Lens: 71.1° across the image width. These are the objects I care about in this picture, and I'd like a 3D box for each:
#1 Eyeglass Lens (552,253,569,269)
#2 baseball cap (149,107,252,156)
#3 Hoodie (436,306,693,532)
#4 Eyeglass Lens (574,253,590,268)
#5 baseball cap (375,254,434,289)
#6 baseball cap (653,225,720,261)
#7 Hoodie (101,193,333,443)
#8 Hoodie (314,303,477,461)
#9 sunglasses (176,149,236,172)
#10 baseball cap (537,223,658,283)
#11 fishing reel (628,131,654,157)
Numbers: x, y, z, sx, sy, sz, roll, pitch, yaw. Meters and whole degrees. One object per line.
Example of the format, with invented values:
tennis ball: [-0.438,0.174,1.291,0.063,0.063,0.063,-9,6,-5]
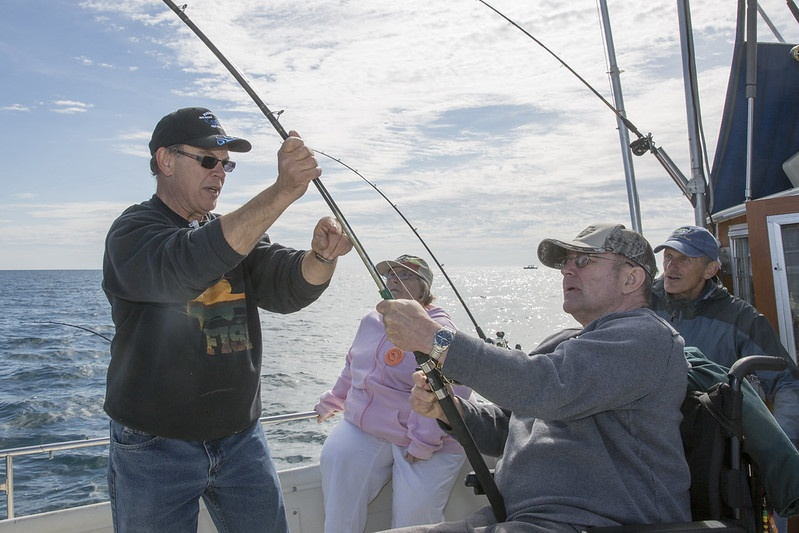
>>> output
Eyeglass Lens: [0.845,-0.023,2.938,0.076,0.023,0.064,14,20,-22]
baseball cap: [-1.013,-0.691,2.930,0.461,0.176,0.263,-5,5,-4]
Hoodie: [0.793,0.808,2.828,1.291,0.961,0.939,10,-28,-4]
Eyeglass Lens: [0.910,-0.029,2.784,0.073,0.026,0.065,10,14,-31]
baseball cap: [0.081,-0.001,4.356,0.482,0.175,0.301,15,0,-3]
baseball cap: [2.006,-0.179,3.967,0.483,0.195,0.347,12,-1,-42]
Hoodie: [-1.117,0.396,3.248,1.419,1.185,1.114,-7,-11,31]
Hoodie: [0.056,0.717,4.092,0.754,0.979,1.367,1,0,-39]
sunglasses: [-0.995,-0.568,2.897,0.173,0.043,0.130,21,9,22]
baseball cap: [0.998,-0.076,2.887,0.529,0.216,0.297,19,-3,-1]
fishing reel: [1.933,-0.975,4.490,0.155,0.161,0.199,-1,0,0]
